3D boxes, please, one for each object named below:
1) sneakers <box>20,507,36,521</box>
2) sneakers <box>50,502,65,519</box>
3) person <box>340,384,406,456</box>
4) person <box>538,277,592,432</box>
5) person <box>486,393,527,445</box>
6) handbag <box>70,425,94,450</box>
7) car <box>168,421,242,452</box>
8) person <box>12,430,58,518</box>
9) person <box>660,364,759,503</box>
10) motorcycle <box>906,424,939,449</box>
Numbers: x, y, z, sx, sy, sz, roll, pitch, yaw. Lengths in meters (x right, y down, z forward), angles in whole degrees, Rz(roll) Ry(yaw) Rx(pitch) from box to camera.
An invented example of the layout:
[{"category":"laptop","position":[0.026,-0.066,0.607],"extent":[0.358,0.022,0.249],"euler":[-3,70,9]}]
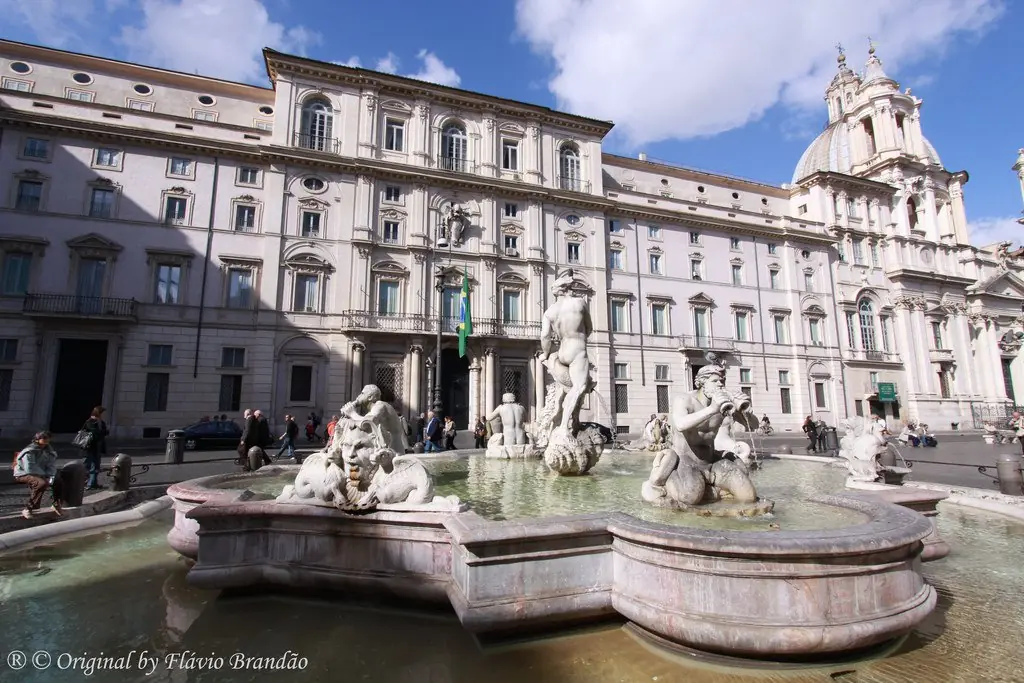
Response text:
[{"category":"sneakers","position":[-9.223,3.263,11.609],"extent":[0.176,0.197,0.284],"euler":[7,-10,-36]},{"category":"sneakers","position":[-8.795,3.268,11.836],"extent":[0.343,0.271,0.151],"euler":[-3,-9,23]},{"category":"person","position":[-2.109,1.351,9.275],"extent":[0.964,1.298,0.615],"euler":[2,-12,-10]},{"category":"person","position":[1.103,0.190,12.175],"extent":[0.977,3.254,0.517],"euler":[-7,-12,42]},{"category":"person","position":[-0.016,1.807,14.362],"extent":[1.042,1.197,0.766],"euler":[-4,3,-11]},{"category":"handbag","position":[-10.578,2.345,14.975],"extent":[0.609,0.607,0.299],"euler":[-3,-9,21]},{"category":"car","position":[-12.000,3.672,24.215],"extent":[2.779,0.818,1.215],"euler":[0,0,-35]},{"category":"person","position":[-9.448,2.613,12.179],"extent":[0.772,1.635,1.347],"euler":[8,-11,-40]},{"category":"person","position":[2.961,1.382,9.300],"extent":[1.388,2.134,0.669],"euler":[0,-9,5]},{"category":"motorcycle","position":[18.911,4.376,28.340],"extent":[1.621,0.773,2.088],"euler":[1,-1,5]}]
